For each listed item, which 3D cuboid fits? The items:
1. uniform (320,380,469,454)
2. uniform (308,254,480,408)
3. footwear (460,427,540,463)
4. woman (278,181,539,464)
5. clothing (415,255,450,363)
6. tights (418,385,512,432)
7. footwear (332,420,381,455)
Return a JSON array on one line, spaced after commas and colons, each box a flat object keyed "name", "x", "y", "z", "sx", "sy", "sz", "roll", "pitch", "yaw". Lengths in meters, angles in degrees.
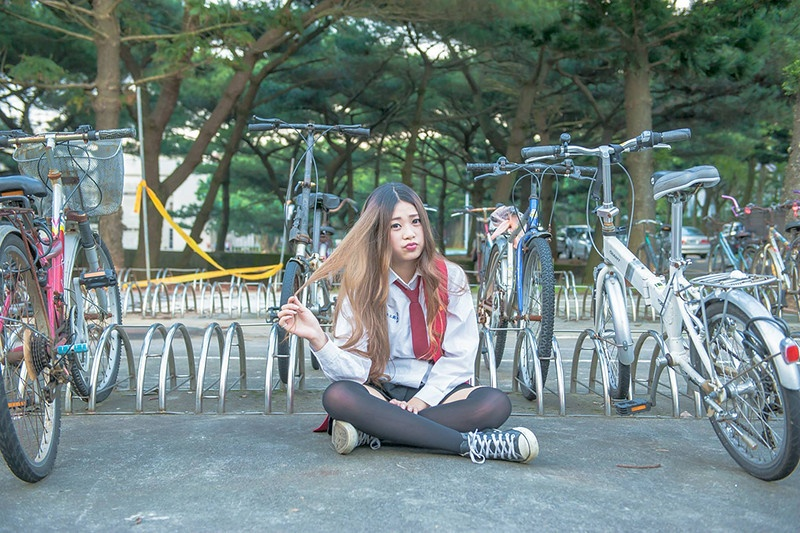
[{"name": "uniform", "x": -0.036, "y": 1.143, "z": 7.304, "sx": 1.247, "sy": 0.531, "sz": 2.146, "roll": 9, "pitch": -7, "yaw": -10}, {"name": "uniform", "x": -0.089, "y": 0.564, "z": 6.856, "sx": 1.335, "sy": 1.312, "sz": 0.910, "roll": -2, "pitch": -5, "yaw": 9}, {"name": "footwear", "x": 0.695, "y": 1.216, "z": 6.258, "sx": 0.579, "sy": 0.212, "sz": 0.250, "roll": -7, "pitch": -3, "yaw": 41}, {"name": "woman", "x": 0.068, "y": 0.404, "z": 6.350, "sx": 1.349, "sy": 1.795, "sz": 1.716, "roll": -5, "pitch": 7, "yaw": -34}, {"name": "clothing", "x": 0.246, "y": 0.327, "z": 6.591, "sx": 0.296, "sy": 0.612, "sz": 0.129, "roll": -2, "pitch": 1, "yaw": 29}, {"name": "tights", "x": 0.503, "y": 1.005, "z": 6.429, "sx": 0.394, "sy": 0.113, "sz": 0.381, "roll": -10, "pitch": 3, "yaw": -4}, {"name": "footwear", "x": -0.309, "y": 1.187, "z": 6.444, "sx": 0.292, "sy": 0.152, "sz": 0.233, "roll": -1, "pitch": 13, "yaw": 21}]
